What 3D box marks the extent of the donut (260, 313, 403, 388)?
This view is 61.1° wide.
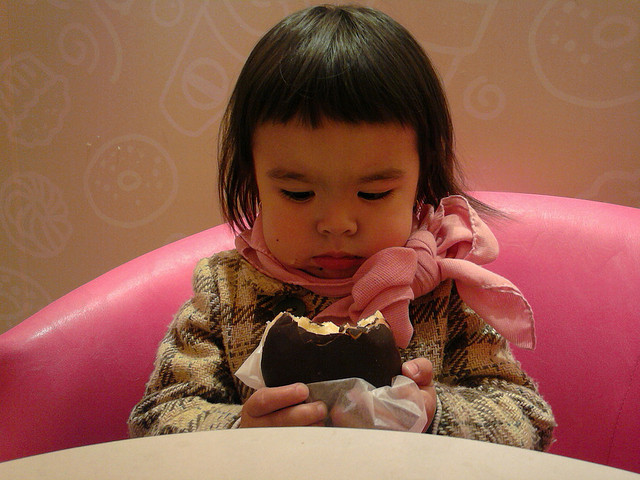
[{"bbox_3d":[0.004,0.162,0.779,0.146,0.092,0.116,-4,-8,16],"label":"donut"}]

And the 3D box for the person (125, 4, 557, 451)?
[{"bbox_3d":[0.074,-0.033,1.027,0.817,0.795,0.538,-1,-24,0],"label":"person"}]

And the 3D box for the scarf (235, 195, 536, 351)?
[{"bbox_3d":[0.105,0.053,1.033,0.533,0.323,0.201,5,-31,-7],"label":"scarf"}]
